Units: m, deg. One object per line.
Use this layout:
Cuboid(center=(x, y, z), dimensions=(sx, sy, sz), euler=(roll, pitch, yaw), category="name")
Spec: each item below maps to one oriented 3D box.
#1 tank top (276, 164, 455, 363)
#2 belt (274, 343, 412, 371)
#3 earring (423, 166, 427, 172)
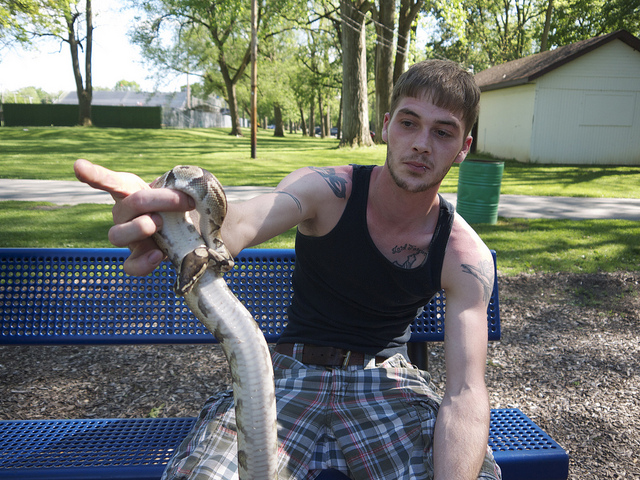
Cuboid(center=(0.310, 0.142, 4.591), dimensions=(0.900, 1.418, 1.024), euler=(7, 6, -10), category="tank top")
Cuboid(center=(0.052, 0.788, 4.266), dimensions=(0.298, 0.090, 0.333), euler=(21, -7, 3), category="belt")
Cuboid(center=(0.708, -0.471, 4.122), dimensions=(0.018, 0.029, 0.004), euler=(-3, 11, -17), category="earring")
